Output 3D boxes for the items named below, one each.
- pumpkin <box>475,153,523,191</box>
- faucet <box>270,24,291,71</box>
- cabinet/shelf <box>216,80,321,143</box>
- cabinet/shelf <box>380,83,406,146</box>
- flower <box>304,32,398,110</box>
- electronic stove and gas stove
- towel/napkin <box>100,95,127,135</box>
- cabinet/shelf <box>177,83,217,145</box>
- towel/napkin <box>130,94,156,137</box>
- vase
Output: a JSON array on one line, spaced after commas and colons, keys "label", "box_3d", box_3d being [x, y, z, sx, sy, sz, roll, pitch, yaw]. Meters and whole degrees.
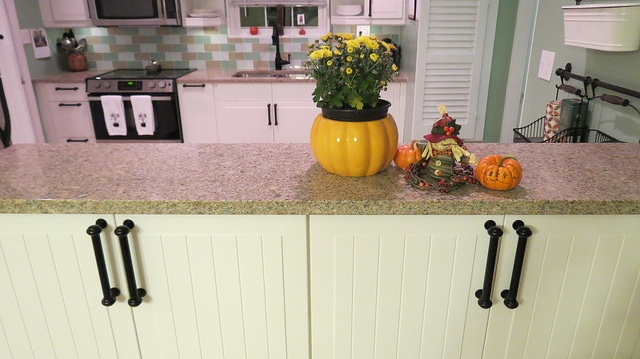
[{"label": "pumpkin", "box_3d": [0.890, -0.043, 2.128, 0.208, 0.161, 0.190, -1, 17, 3]}, {"label": "faucet", "box_3d": [-0.472, -1.595, 5.017, 0.184, 0.514, 0.184, -5, 20, -5]}, {"label": "cabinet/shelf", "box_3d": [-0.682, -0.771, 4.970, 1.305, 0.688, 0.658, -4, 9, -25]}, {"label": "cabinet/shelf", "box_3d": [0.777, -0.742, 4.819, 0.471, 0.681, 0.430, -2, -7, 6]}, {"label": "flower", "box_3d": [0.153, -0.578, 2.210, 0.397, 0.266, 0.328, 9, 16, 34]}, {"label": "electronic stove and gas stove", "box_3d": [-2.036, -1.127, 4.791, 1.060, 0.242, 0.556, -1, 18, 3]}, {"label": "towel/napkin", "box_3d": [-2.277, -0.710, 4.629, 0.260, 0.450, 0.068, 0, 21, 7]}, {"label": "cabinet/shelf", "box_3d": [-1.361, -0.762, 4.669, 0.380, 0.630, 0.096, 0, 21, 9]}, {"label": "towel/napkin", "box_3d": [-1.942, -0.709, 4.610, 0.243, 0.447, 0.091, -6, 21, -8]}, {"label": "vase", "box_3d": [0.156, -0.266, 2.348, 0.469, 0.320, 0.423, -6, 19, -18]}]
